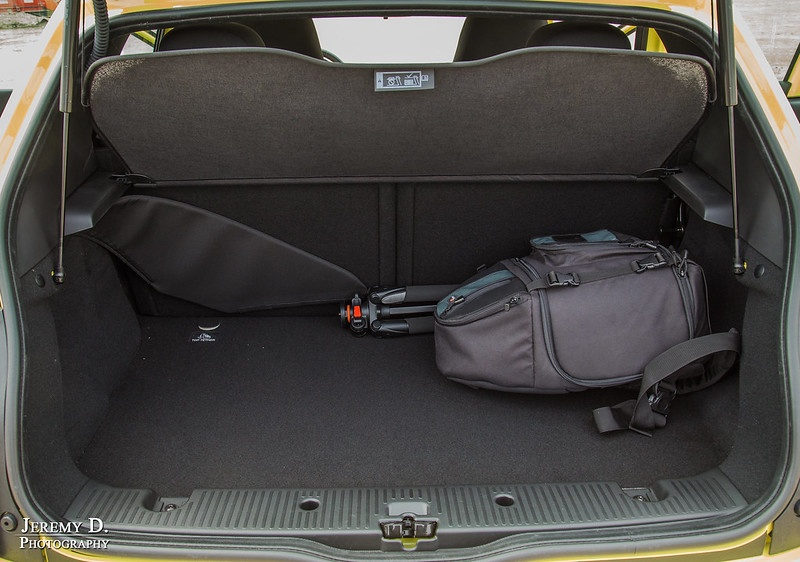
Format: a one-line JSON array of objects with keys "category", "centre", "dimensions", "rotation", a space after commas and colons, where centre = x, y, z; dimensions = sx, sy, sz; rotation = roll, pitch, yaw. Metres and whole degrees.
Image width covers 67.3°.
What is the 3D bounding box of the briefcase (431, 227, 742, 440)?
[{"category": "briefcase", "centre": [0.524, 0.046, 2.082], "dimensions": [1.082, 0.408, 0.794], "rotation": [-8, 27, -18]}]
